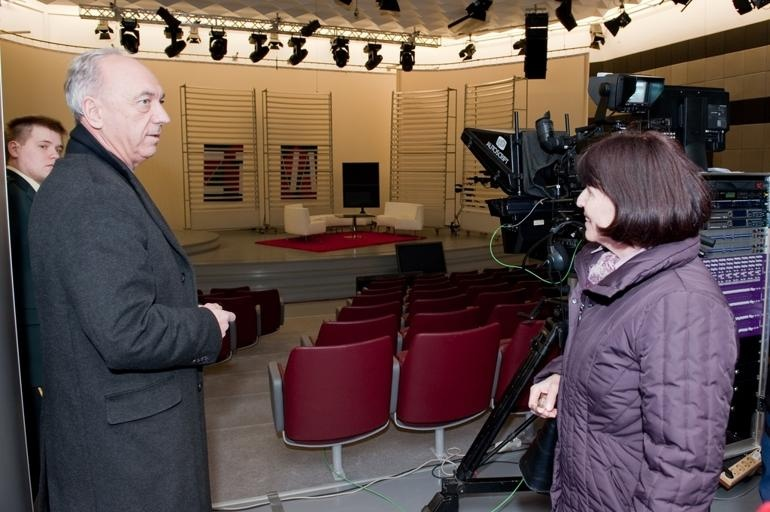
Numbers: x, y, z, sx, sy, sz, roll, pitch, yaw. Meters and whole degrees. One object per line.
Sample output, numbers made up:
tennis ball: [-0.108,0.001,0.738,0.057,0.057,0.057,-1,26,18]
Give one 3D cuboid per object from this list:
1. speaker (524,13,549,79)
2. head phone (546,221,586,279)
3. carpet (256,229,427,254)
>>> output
speaker: [2.270,-3.119,8.419,0.323,0.930,0.231,-1,9,3]
head phone: [0.873,-0.024,2.729,0.217,0.277,0.090,-14,10,-43]
carpet: [-0.919,-0.343,11.504,2.323,0.145,2.922,7,13,44]
